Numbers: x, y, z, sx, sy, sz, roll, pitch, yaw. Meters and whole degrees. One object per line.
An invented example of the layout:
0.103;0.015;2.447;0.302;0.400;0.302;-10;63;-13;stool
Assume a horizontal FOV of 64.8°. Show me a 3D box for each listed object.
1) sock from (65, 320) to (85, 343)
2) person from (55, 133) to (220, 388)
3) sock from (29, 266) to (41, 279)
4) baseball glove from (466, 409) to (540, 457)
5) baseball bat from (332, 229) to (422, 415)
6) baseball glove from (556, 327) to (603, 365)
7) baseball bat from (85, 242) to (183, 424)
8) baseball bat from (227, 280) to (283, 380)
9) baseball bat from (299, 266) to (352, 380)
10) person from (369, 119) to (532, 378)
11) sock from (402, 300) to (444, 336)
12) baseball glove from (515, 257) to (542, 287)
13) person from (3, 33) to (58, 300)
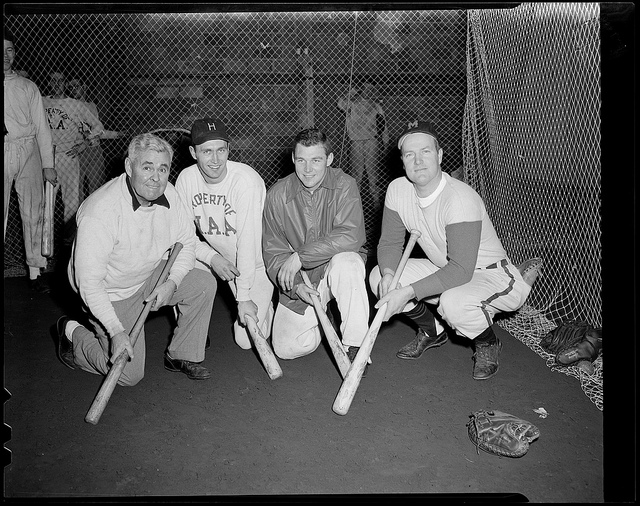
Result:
-1.444;0.466;2.972;0.062;0.181;0.078;-15;64;-50;sock
-0.966;0.072;2.785;0.817;1.283;0.874;-4;19;-36;person
-2.300;0.161;4.048;0.062;0.106;0.064;9;28;-7;sock
0.849;0.827;2.353;0.301;0.085;0.314;5;23;40;baseball glove
0.324;0.413;2.870;0.116;0.115;1.162;12;57;29;baseball bat
1.530;0.558;2.953;0.308;0.163;0.154;-4;19;-20;baseball glove
-1.009;0.432;2.699;0.099;0.057;1.020;20;62;1;baseball bat
-0.388;0.427;2.882;0.104;0.076;0.604;-19;52;-15;baseball bat
0.026;0.405;2.905;0.079;0.091;0.694;5;55;-45;baseball bat
0.681;-0.017;3.001;0.999;1.454;0.842;-14;14;-27;person
0.721;0.412;3.250;0.200;0.175;0.494;-18;1;1;sock
1.318;0.124;3.180;0.108;0.150;0.312;13;21;29;baseball glove
-2.242;-0.597;3.866;0.362;1.889;0.404;-8;20;-28;person
